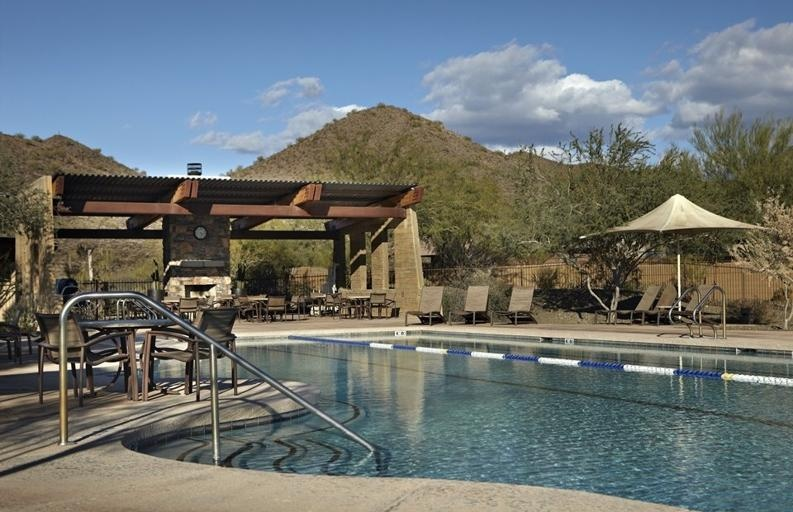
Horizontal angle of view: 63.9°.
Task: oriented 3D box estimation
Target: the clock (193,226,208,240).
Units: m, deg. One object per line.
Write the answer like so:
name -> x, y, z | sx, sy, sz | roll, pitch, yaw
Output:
clock -> -6.798, -0.779, 21.997 | 0.513, 0.481, 0.118 | 2, 2, -29

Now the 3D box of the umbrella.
umbrella -> 7.407, -0.158, 16.591 | 3.485, 2.290, 3.367 | -4, 4, 4
